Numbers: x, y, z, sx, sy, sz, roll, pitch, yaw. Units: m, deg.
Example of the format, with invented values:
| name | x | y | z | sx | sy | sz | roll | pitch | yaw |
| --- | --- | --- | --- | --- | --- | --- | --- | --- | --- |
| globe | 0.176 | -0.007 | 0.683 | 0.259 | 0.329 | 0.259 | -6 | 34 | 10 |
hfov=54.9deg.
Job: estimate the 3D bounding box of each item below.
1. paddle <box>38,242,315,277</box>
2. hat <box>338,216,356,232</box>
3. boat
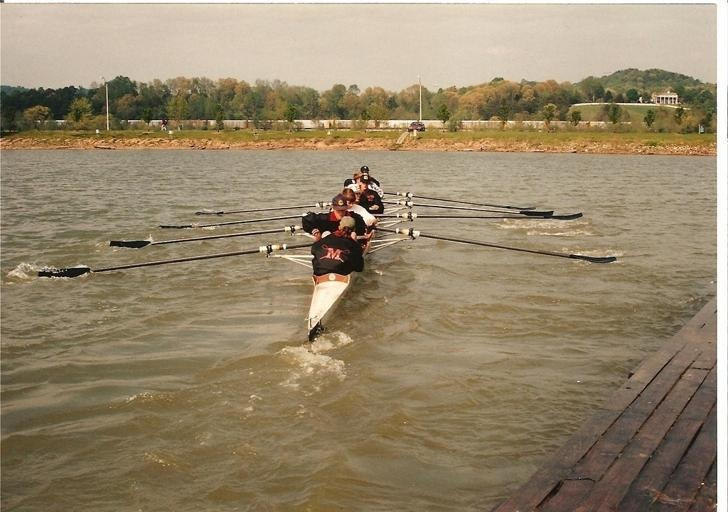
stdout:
| name | x | y | z | sx | sy | sz | roll | pitch | yaw |
| --- | --- | --- | --- | --- | --- | --- | --- | --- | --- |
| paddle | -4.694 | 0.096 | 17.265 | 4.127 | 0.133 | 0.384 | -8 | 33 | -6 |
| hat | -0.349 | -0.682 | 14.481 | 0.266 | 0.223 | 0.322 | 5 | 17 | 4 |
| boat | -0.626 | 0.406 | 14.027 | 1.116 | 0.828 | 2.543 | 4 | 40 | 15 |
